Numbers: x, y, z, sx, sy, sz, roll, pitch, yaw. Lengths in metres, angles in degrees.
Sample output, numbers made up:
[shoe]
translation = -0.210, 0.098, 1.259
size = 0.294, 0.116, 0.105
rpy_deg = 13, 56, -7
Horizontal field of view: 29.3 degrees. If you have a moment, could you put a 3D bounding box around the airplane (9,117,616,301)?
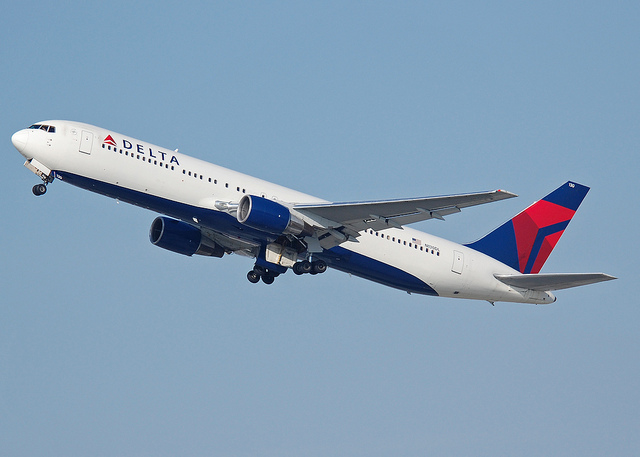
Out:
[airplane]
translation = -0.127, -0.510, 41.405
size = 18.599, 5.282, 4.844
rpy_deg = 7, -52, -8
